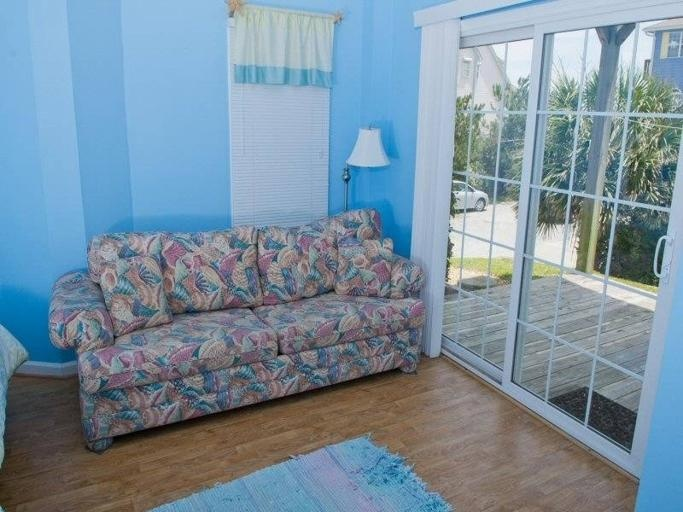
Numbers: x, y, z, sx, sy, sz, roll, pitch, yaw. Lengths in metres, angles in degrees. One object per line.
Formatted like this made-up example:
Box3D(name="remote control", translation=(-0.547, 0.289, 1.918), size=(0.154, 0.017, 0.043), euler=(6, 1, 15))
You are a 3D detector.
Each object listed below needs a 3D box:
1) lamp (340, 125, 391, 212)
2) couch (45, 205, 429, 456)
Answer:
Box3D(name="lamp", translation=(0.226, -0.775, 4.876), size=(0.422, 0.772, 0.563), euler=(-3, 17, -9))
Box3D(name="couch", translation=(-0.662, 0.437, 4.135), size=(2.720, 1.281, 1.174), euler=(-7, 15, -28))
